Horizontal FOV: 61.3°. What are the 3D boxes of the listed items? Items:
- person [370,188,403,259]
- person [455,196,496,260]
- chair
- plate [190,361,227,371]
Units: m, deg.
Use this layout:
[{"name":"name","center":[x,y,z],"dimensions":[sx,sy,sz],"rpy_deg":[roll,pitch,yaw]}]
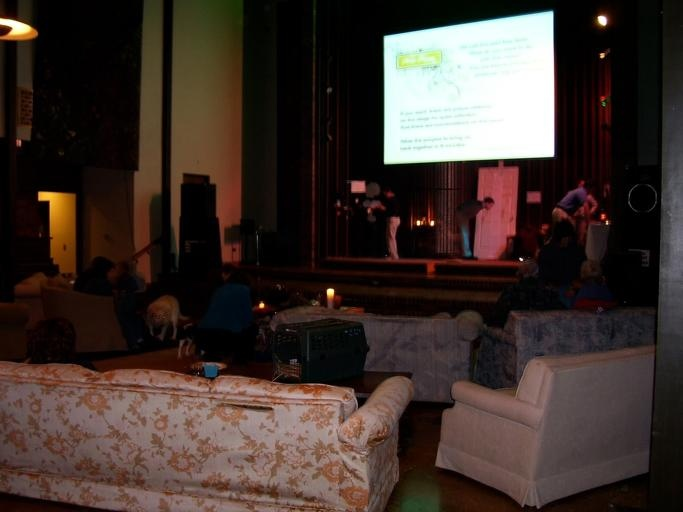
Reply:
[{"name":"person","center":[0.899,-0.562,10.162],"dimensions":[0.608,1.200,0.980],"rpy_deg":[-2,6,-15]},{"name":"person","center":[2.236,-0.481,9.766],"dimensions":[0.594,0.999,0.695],"rpy_deg":[1,6,13]},{"name":"chair","center":[-2.778,0.611,6.199],"dimensions":[0.775,0.906,0.694],"rpy_deg":[-4,6,-30]},{"name":"plate","center":[-0.941,0.782,4.078],"dimensions":[0.167,0.047,0.185],"rpy_deg":[1,-2,8]}]
